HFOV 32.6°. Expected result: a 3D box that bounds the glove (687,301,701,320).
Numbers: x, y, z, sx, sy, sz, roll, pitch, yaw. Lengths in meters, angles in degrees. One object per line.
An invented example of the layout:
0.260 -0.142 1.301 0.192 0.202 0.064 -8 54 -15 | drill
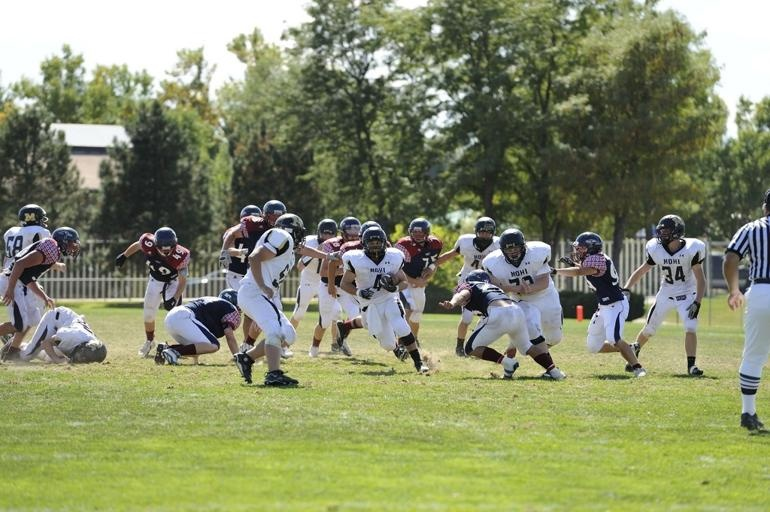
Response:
7.256 1.291 30.605 0.153 0.390 0.286 14 7 -28 | glove

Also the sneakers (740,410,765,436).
7.732 3.528 27.262 0.660 0.285 0.250 14 8 40 | sneakers

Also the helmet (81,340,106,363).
-6.756 2.270 30.585 0.445 0.403 0.553 0 -12 -13 | helmet
